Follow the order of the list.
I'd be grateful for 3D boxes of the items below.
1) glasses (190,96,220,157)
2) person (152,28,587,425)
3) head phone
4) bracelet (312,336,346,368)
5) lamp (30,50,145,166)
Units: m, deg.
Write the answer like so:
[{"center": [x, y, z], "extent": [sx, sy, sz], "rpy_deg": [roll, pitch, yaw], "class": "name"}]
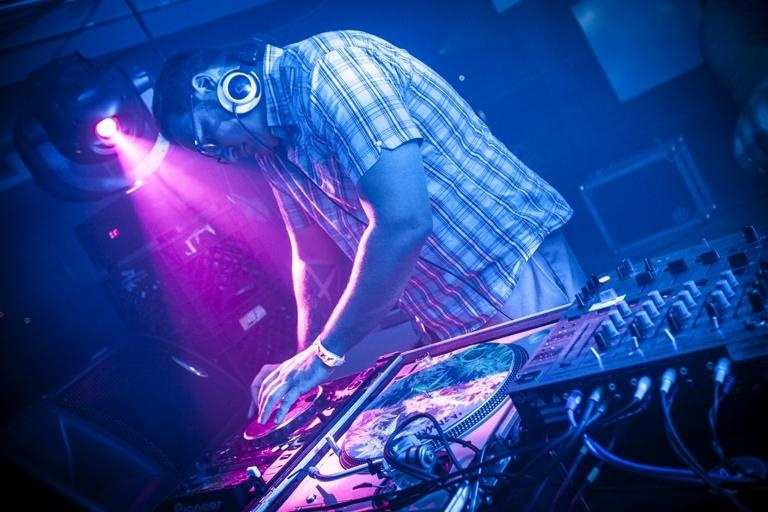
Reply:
[{"center": [-0.623, -0.438, 2.088], "extent": [0.085, 0.128, 0.191], "rpy_deg": [11, -20, 3], "class": "glasses"}, {"center": [-0.085, -0.052, 2.116], "extent": [1.269, 1.327, 1.135], "rpy_deg": [1, -22, 28], "class": "person"}, {"center": [-0.503, -0.616, 2.103], "extent": [0.122, 0.251, 0.248], "rpy_deg": [7, -5, -13], "class": "head phone"}, {"center": [-0.203, 0.337, 2.101], "extent": [0.096, 0.046, 0.104], "rpy_deg": [47, -10, -29], "class": "bracelet"}, {"center": [-1.206, -0.602, 2.430], "extent": [0.509, 0.387, 0.214], "rpy_deg": [40, -30, 37], "class": "lamp"}]
